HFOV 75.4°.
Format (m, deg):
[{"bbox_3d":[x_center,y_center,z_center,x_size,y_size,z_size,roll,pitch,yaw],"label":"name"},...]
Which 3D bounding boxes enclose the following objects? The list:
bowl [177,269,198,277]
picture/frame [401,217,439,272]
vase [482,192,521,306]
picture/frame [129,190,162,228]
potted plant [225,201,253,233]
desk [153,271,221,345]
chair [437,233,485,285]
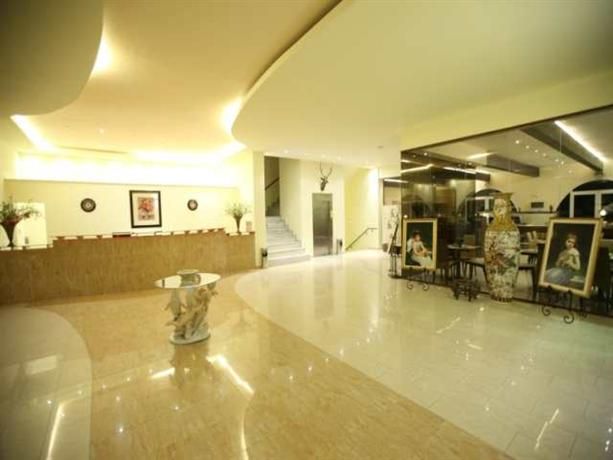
[{"bbox_3d":[-1.916,0.706,6.481,0.197,0.060,0.207,1,-1,0],"label":"bowl"},{"bbox_3d":[2.489,0.314,8.698,1.078,1.677,0.161,1,1,34],"label":"picture/frame"},{"bbox_3d":[3.767,0.342,7.697,0.602,2.088,0.280,2,6,32],"label":"vase"},{"bbox_3d":[-4.979,-0.651,12.323,0.808,1.192,0.039,-3,25,-22],"label":"picture/frame"},{"bbox_3d":[-2.119,-0.318,12.112,0.676,0.828,0.701,-6,-6,-23],"label":"potted plant"},{"bbox_3d":[-1.808,1.209,6.696,1.009,1.147,1.148,3,6,28],"label":"desk"},{"bbox_3d":[3.469,0.678,8.945,0.785,1.210,0.948,4,8,37],"label":"chair"}]
